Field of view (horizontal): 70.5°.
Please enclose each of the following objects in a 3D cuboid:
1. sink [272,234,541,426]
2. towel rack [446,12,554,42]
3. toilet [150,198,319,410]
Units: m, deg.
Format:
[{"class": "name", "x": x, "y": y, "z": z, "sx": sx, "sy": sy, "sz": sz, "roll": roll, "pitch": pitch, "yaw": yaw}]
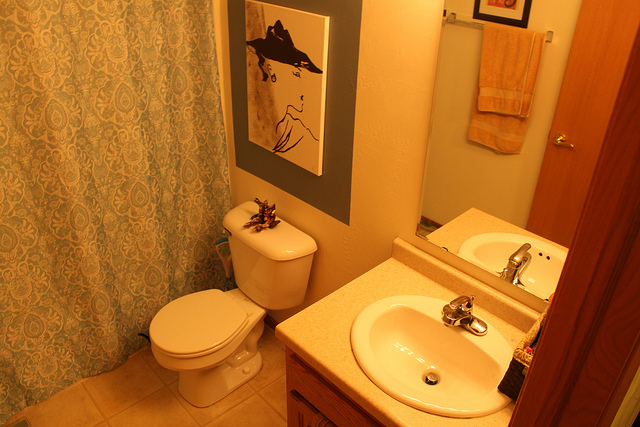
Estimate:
[{"class": "sink", "x": 0.362, "y": 0.472, "z": 1.704, "sx": 0.686, "sy": 0.346, "sz": 0.597, "roll": 32, "pitch": 46, "yaw": 31}, {"class": "towel rack", "x": 0.599, "y": -0.634, "z": 1.531, "sx": 0.368, "sy": 0.045, "sz": 0.010, "roll": 28, "pitch": 45, "yaw": 28}, {"class": "toilet", "x": -0.540, "y": 0.536, "z": 2.489, "sx": 0.533, "sy": 0.942, "sz": 0.832, "roll": 29, "pitch": 31, "yaw": 34}]
